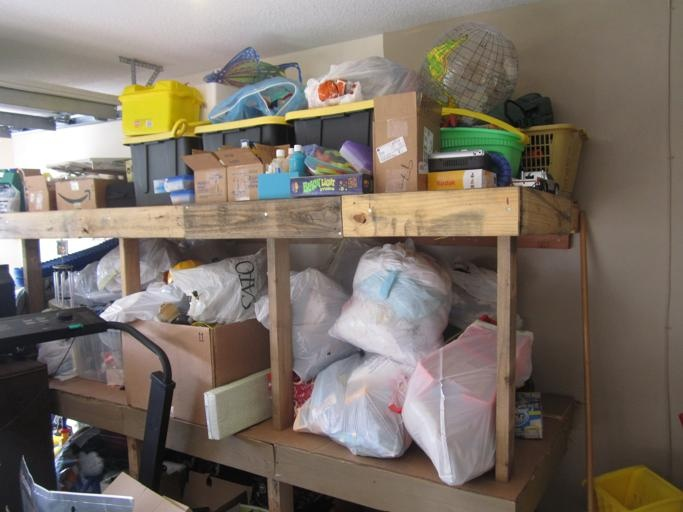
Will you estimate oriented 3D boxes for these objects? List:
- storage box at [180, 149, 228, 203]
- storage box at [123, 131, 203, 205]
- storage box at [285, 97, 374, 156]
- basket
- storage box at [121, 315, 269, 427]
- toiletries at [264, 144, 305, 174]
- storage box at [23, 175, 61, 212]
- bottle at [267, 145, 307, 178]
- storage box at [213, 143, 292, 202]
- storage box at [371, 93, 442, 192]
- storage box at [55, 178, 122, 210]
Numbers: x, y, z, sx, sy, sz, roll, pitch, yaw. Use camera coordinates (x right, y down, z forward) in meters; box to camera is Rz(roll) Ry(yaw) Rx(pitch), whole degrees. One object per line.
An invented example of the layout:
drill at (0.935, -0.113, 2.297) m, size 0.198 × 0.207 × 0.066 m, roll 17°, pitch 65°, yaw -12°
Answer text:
storage box at (-0.679, -0.387, 2.681) m, size 0.246 × 0.258 × 0.226 m, roll 0°, pitch 11°, yaw -20°
storage box at (-0.910, -0.478, 3.040) m, size 0.447 × 0.423 × 0.306 m, roll -3°, pitch -1°, yaw 33°
storage box at (-0.032, -0.594, 2.655) m, size 0.260 × 0.171 × 0.363 m, roll 4°, pitch 20°, yaw 42°
basket at (0.735, -0.470, 2.511) m, size 0.372 × 0.212 × 0.571 m, roll 6°, pitch -8°, yaw 27°
storage box at (-0.721, 0.472, 2.834) m, size 0.526 × 0.363 × 0.522 m, roll 1°, pitch 0°, yaw 33°
toiletries at (-0.237, -0.419, 2.452) m, size 0.178 × 0.187 × 0.102 m, roll 7°, pitch 9°, yaw 27°
storage box at (-1.749, -0.327, 3.303) m, size 0.124 × 0.219 × 0.130 m, roll -8°, pitch -11°, yaw -23°
bottle at (-0.231, -0.405, 2.451) m, size 0.184 × 0.194 × 0.107 m, roll 6°, pitch 8°, yaw 24°
storage box at (-0.495, -0.410, 2.629) m, size 0.300 × 0.257 × 0.329 m, roll -9°, pitch 30°, yaw -31°
storage box at (0.326, -0.480, 2.371) m, size 0.273 × 0.427 × 0.267 m, roll -20°, pitch 16°, yaw -36°
storage box at (-1.449, -0.344, 3.156) m, size 0.204 × 0.142 × 0.221 m, roll -2°, pitch 5°, yaw -7°
